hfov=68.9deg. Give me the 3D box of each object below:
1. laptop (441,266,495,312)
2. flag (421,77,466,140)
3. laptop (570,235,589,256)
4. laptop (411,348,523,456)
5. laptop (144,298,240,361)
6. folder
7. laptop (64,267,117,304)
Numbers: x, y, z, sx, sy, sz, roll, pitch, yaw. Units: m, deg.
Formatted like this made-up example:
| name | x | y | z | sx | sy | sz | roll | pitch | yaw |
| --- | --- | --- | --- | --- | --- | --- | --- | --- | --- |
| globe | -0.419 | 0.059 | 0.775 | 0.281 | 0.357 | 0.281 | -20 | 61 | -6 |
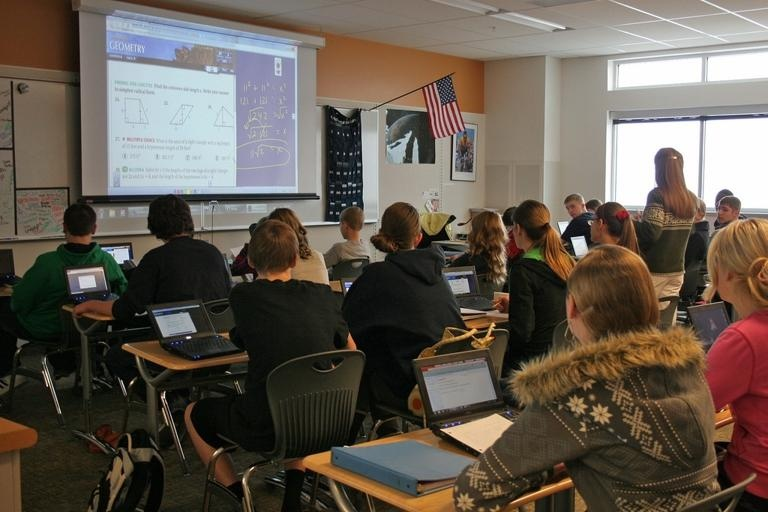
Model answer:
| name | x | y | z | sx | sy | sz | roll | pitch | yaw |
| --- | --- | --- | --- | --- | --- | --- | --- | --- | --- |
| laptop | 0.680 | 0.264 | 4.432 | 0.405 | 0.241 | 0.339 | -7 | 9 | -36 |
| flag | 0.919 | -2.279 | 8.560 | 0.613 | 0.895 | 0.346 | 2 | 9 | 26 |
| laptop | 2.402 | -0.125 | 6.887 | 0.254 | 0.181 | 0.205 | -5 | 0 | -27 |
| laptop | 0.314 | 0.565 | 2.250 | 0.380 | 0.354 | 0.233 | -3 | -5 | -43 |
| laptop | -1.093 | 0.361 | 3.223 | 0.449 | 0.186 | 0.332 | 17 | 15 | 43 |
| folder | 0.076 | 0.740 | 1.937 | 0.250 | 0.050 | 0.252 | -6 | 9 | -44 |
| laptop | -2.209 | 0.209 | 4.247 | 0.378 | 0.282 | 0.272 | -6 | 9 | -39 |
